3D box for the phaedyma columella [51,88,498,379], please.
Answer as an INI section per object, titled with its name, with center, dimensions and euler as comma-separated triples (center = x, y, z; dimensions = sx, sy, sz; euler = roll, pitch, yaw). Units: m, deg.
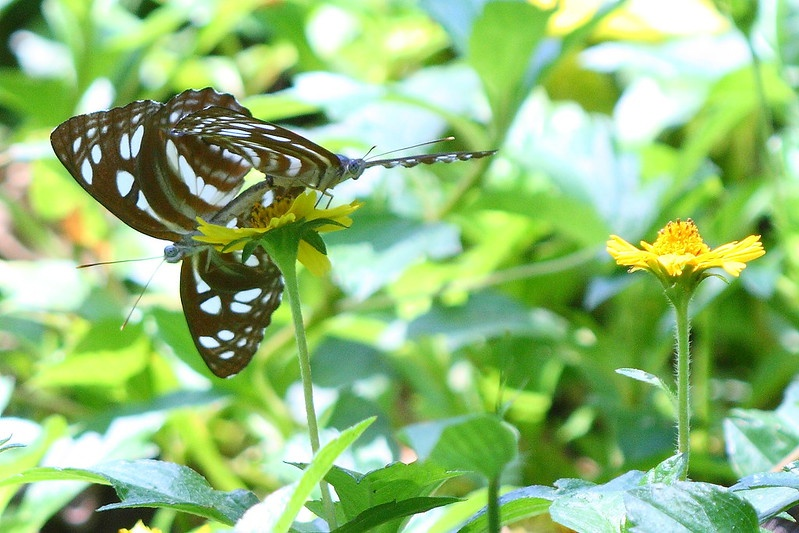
[phaedyma columella]
center = -0.257, -0.088, 1.404
dimensions = 0.544, 0.420, 0.301
euler = -18, 28, -9
